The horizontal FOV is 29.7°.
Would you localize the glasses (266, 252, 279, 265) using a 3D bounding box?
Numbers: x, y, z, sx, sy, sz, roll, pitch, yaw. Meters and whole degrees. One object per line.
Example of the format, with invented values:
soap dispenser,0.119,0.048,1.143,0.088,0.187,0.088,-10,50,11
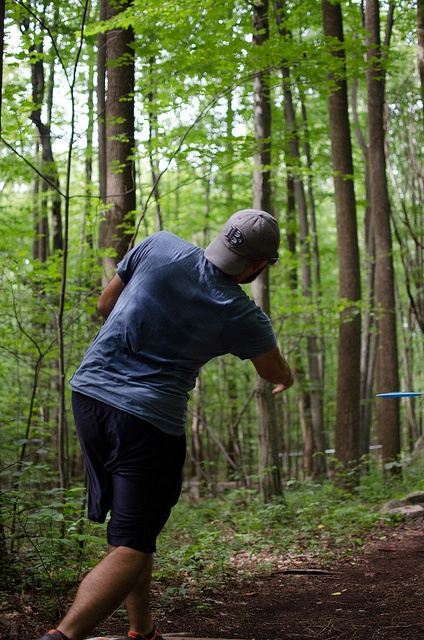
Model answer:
glasses,0.370,-0.367,4.774,0.061,0.071,0.046,9,-24,37
